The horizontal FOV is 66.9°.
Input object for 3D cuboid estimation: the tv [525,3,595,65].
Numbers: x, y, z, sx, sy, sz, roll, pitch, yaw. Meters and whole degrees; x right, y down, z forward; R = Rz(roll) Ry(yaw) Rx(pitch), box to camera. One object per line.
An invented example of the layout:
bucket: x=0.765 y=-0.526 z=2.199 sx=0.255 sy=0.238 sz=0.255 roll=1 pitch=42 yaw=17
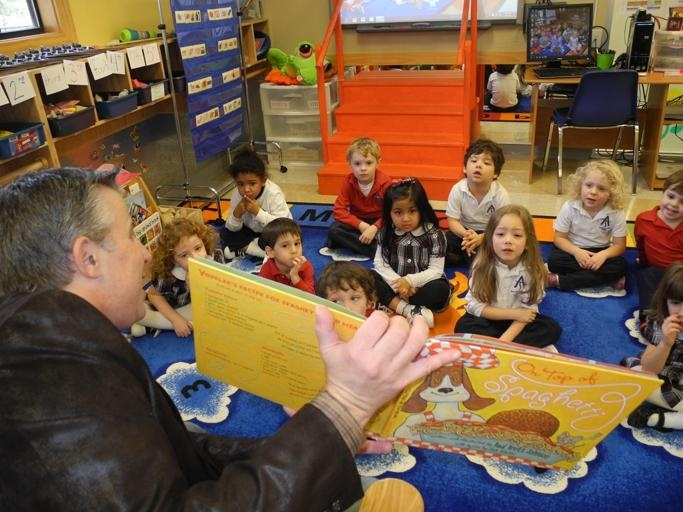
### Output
tv: x=1.741 y=-1.815 z=4.190 sx=0.640 sy=0.476 sz=0.060 roll=-1 pitch=27 yaw=3

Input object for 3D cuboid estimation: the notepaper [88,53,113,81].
notepaper: x=-1.418 y=-1.123 z=3.041 sx=0.024 sy=0.142 sz=0.164 roll=2 pitch=42 yaw=18

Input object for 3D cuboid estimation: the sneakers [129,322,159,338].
sneakers: x=-1.002 y=0.370 z=2.637 sx=0.147 sy=0.086 sz=0.060 roll=4 pitch=8 yaw=-9

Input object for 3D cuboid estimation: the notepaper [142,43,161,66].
notepaper: x=-1.261 y=-1.340 z=3.423 sx=0.024 sy=0.138 sz=0.206 roll=3 pitch=16 yaw=18

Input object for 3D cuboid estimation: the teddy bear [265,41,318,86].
teddy bear: x=-0.458 y=-1.712 z=4.689 sx=0.506 sy=0.429 sz=0.241 roll=-2 pitch=2 yaw=27

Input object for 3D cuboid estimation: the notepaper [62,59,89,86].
notepaper: x=-1.471 y=-1.018 z=2.854 sx=0.010 sy=0.170 sz=0.181 roll=7 pitch=17 yaw=24

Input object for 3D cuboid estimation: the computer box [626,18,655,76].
computer box: x=2.312 y=-1.634 z=4.026 sx=0.161 sy=0.355 sz=0.205 roll=9 pitch=27 yaw=22

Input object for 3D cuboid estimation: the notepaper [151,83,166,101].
notepaper: x=-1.246 y=-1.121 z=3.509 sx=0.082 sy=0.090 sz=0.138 roll=-7 pitch=27 yaw=-15

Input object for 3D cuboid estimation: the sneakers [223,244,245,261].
sneakers: x=-0.693 y=-0.020 z=3.362 sx=0.136 sy=0.052 sz=0.079 roll=-1 pitch=14 yaw=8

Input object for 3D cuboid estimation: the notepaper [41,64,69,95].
notepaper: x=-1.526 y=-0.953 z=2.758 sx=0.024 sy=0.166 sz=0.169 roll=10 pitch=18 yaw=20

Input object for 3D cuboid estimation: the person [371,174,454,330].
person: x=0.303 y=-0.005 z=2.718 sx=0.533 sy=0.692 sz=0.568 roll=-3 pitch=21 yaw=7

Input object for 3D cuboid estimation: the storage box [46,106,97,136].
storage box: x=-1.507 y=-0.767 z=2.910 sx=0.146 sy=0.070 sz=0.206 roll=15 pitch=30 yaw=34
